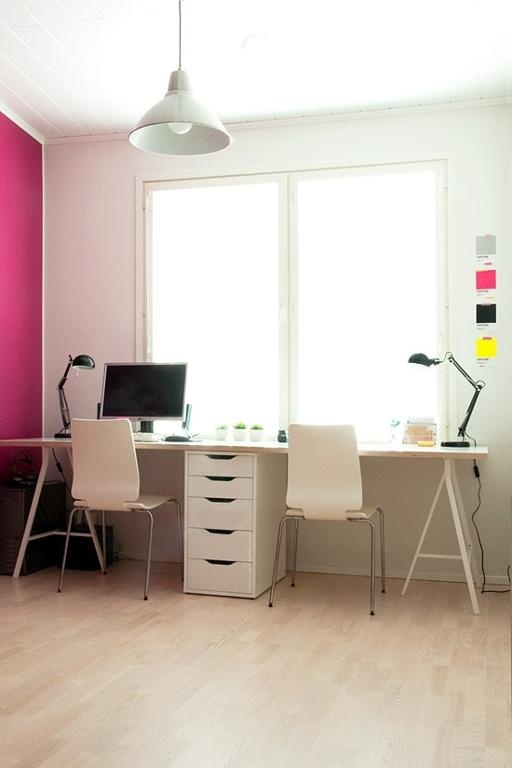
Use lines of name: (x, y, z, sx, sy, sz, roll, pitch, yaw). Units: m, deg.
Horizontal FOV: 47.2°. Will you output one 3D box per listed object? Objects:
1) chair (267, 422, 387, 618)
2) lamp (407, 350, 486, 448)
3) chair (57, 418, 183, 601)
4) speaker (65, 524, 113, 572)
chair: (0.313, 0.585, 2.681, 0.530, 0.769, 0.666, -1, -6, 14)
lamp: (0.916, 0.081, 2.846, 0.356, 0.531, 0.123, -3, -26, 23)
chair: (-0.679, 0.580, 2.863, 0.492, 0.802, 0.604, -1, -6, 7)
speaker: (-0.929, 0.913, 3.294, 0.220, 0.274, 0.193, 1, 2, 4)
